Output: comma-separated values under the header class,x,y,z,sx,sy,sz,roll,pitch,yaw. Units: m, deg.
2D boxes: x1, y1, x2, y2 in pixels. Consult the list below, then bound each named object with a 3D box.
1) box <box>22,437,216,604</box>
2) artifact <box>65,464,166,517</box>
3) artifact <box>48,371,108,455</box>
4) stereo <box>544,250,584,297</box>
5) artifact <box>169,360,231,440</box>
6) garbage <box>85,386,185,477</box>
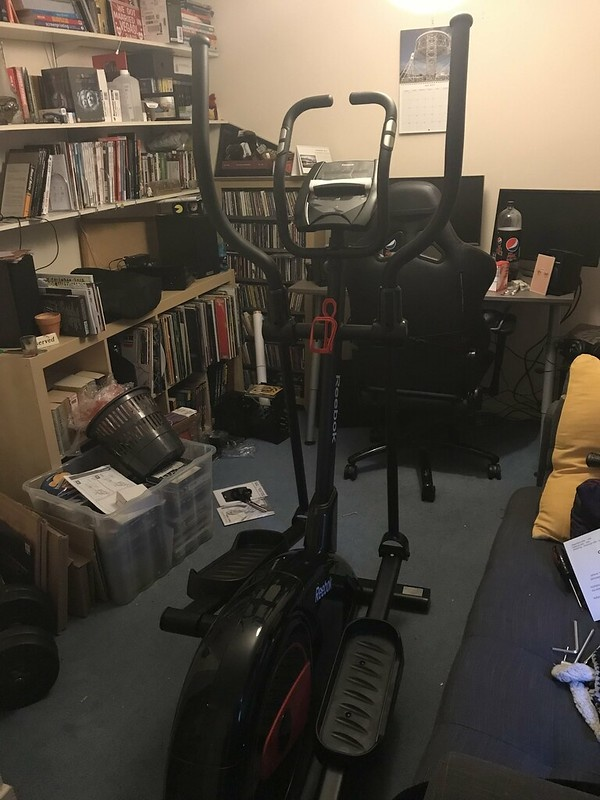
class,x,y,z,sx,sy,sz,roll,pitch,yaw
box,-0.635,0.385,2.231,0.480,0.428,0.660,14,21,27
artifact,-0.643,0.290,2.001,0.190,0.033,0.143,28,31,26
artifact,-0.820,0.061,2.237,0.082,0.201,0.218,6,36,5
stereo,1.143,-0.547,2.634,0.132,0.178,0.075,-15,27,-29
artifact,-0.509,0.008,3.007,0.109,0.282,0.312,15,32,19
garbage,-0.581,0.134,2.283,0.268,0.320,0.310,40,63,16
